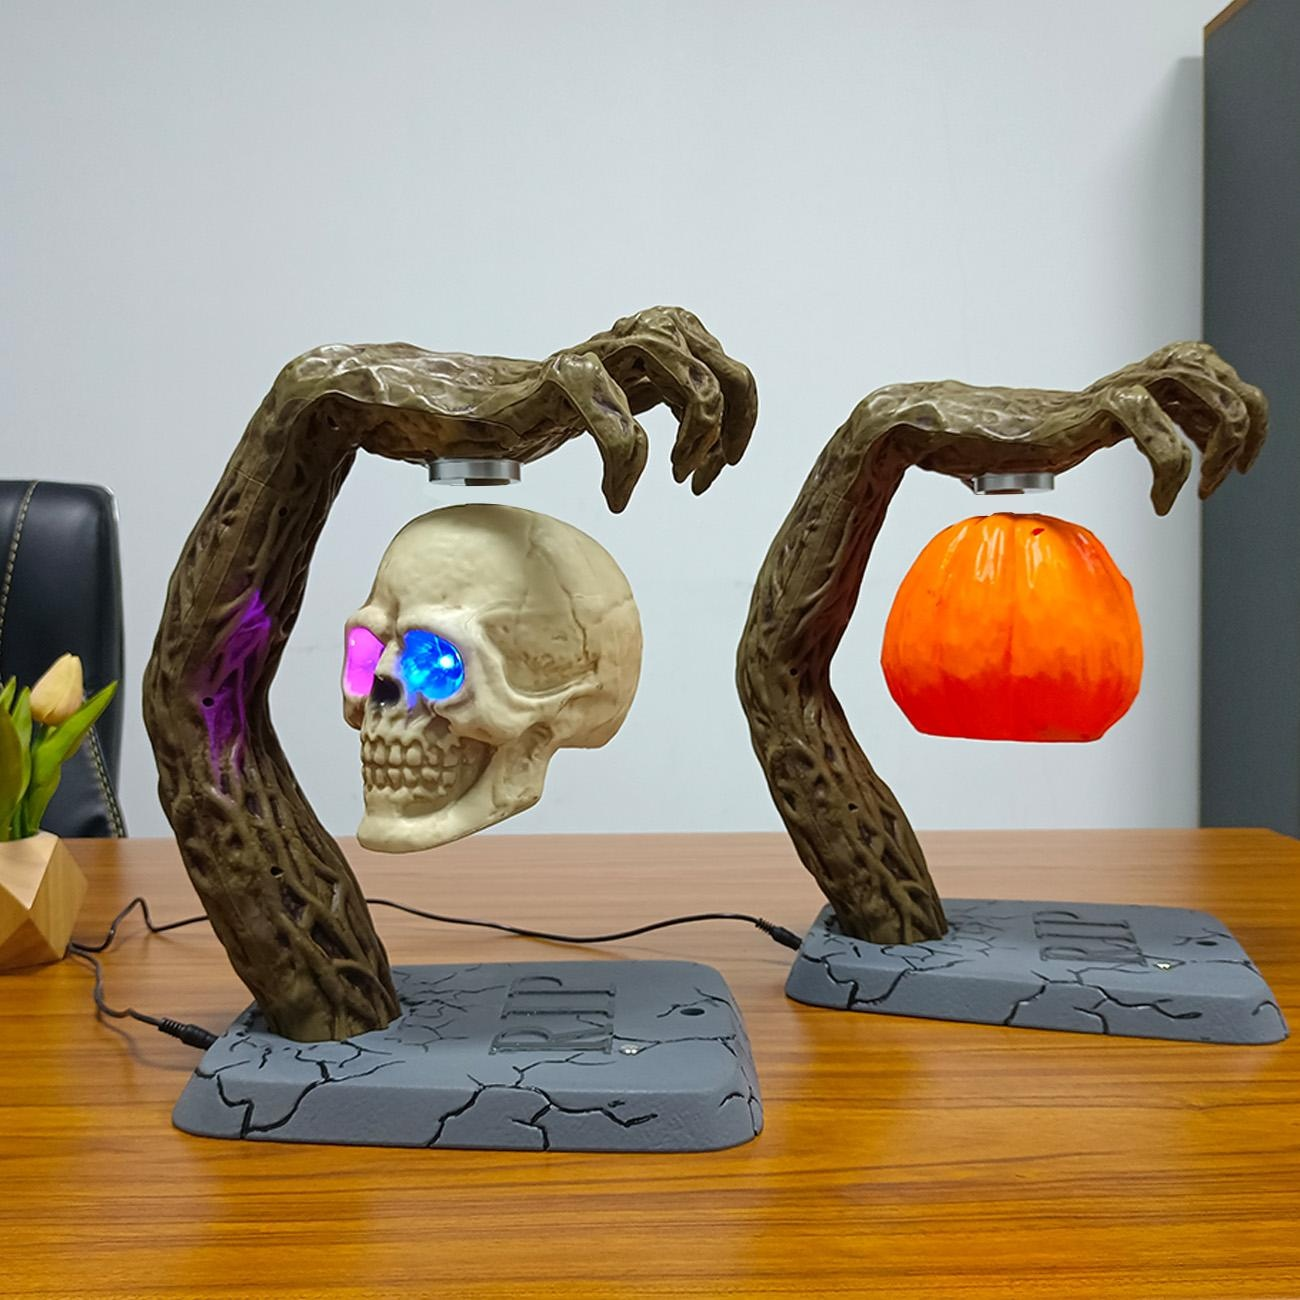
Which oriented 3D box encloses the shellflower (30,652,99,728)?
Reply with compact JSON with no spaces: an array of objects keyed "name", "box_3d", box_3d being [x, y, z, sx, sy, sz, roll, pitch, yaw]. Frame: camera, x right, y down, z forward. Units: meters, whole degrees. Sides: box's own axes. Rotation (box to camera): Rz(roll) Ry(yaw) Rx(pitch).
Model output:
[{"name":"shellflower","box_3d":[-0.665,0.050,1.786,0.055,0.077,0.075,-5,12,-19]}]
